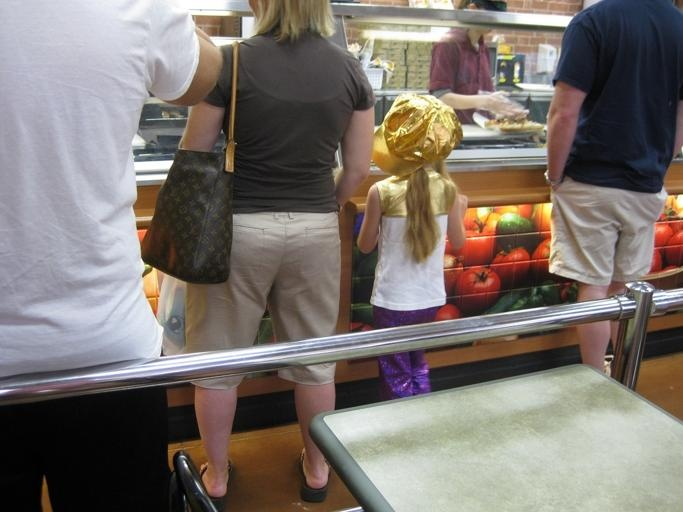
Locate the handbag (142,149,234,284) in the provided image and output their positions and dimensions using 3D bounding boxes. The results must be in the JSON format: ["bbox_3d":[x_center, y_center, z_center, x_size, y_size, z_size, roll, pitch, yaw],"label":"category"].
[{"bbox_3d":[-0.451,-0.117,1.679,0.181,0.384,0.389,5,10,-42],"label":"handbag"}]

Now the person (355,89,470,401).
[{"bbox_3d":[0.303,0.061,2.358,0.527,1.395,0.392,-9,22,-25],"label":"person"}]

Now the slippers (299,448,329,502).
[{"bbox_3d":[-0.111,0.823,2.123,0.066,0.077,0.197,2,22,-4],"label":"slippers"}]

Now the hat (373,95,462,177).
[{"bbox_3d":[0.380,-0.461,2.216,0.363,0.265,0.463,6,1,6],"label":"hat"}]
